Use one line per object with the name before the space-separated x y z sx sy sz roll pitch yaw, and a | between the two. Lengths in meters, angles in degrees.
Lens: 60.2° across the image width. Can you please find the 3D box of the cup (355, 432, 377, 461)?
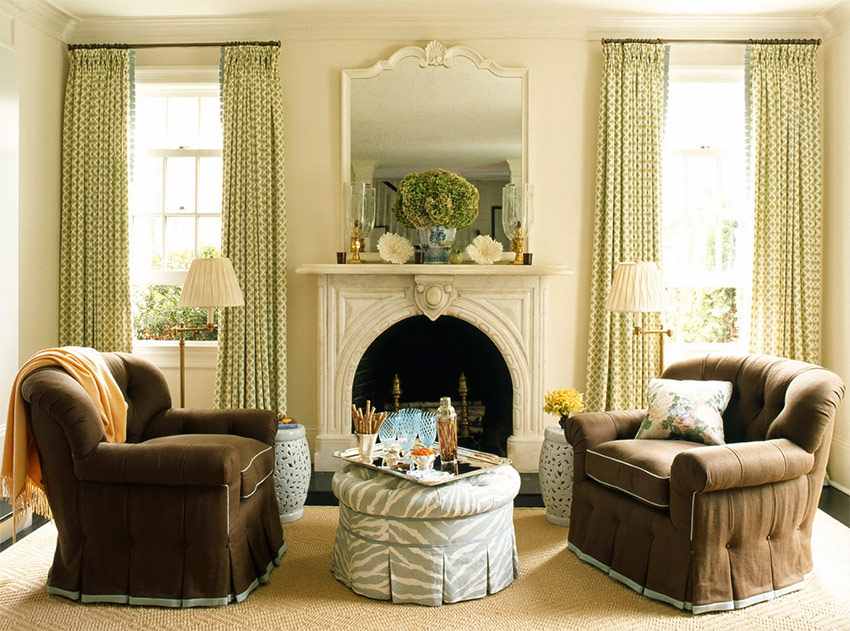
cup | -0.336 0.771 4.418 0.120 0.186 0.173 0 -1 23

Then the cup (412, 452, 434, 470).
cup | 0.008 0.831 4.186 0.094 0.074 0.091 0 -1 0

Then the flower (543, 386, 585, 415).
flower | 0.969 0.588 5.091 0.216 0.241 0.217 -4 -4 43

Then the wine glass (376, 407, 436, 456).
wine glass | -0.102 0.670 4.375 0.260 0.439 0.256 0 -4 16

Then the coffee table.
coffee table | 0.011 1.195 4.160 0.763 0.531 0.806 1 2 26

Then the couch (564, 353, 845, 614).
couch | 1.622 0.914 4.313 1.433 1.192 0.959 -2 12 -8

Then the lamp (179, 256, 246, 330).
lamp | -1.438 -0.162 5.058 0.408 0.472 0.439 0 1 -3

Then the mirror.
mirror | 0.155 -1.314 5.804 1.564 2.130 0.116 0 -1 -1

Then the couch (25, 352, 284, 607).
couch | -1.526 0.872 4.505 1.188 1.253 1.450 0 -1 -1

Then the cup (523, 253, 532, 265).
cup | 0.810 -0.466 5.768 0.074 0.110 0.107 0 5 1

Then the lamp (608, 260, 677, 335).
lamp | 1.449 -0.133 5.328 0.553 0.680 0.471 2 0 -5

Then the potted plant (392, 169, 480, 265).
potted plant | 0.078 -0.760 5.886 0.628 0.744 0.684 1 -1 -5
